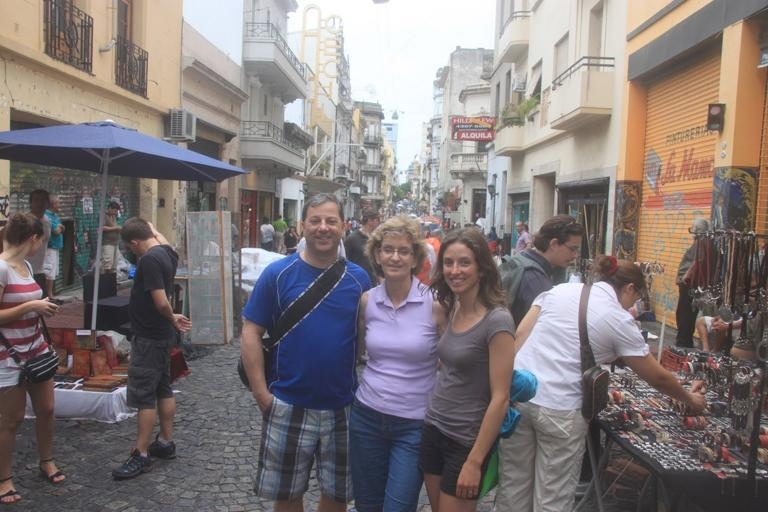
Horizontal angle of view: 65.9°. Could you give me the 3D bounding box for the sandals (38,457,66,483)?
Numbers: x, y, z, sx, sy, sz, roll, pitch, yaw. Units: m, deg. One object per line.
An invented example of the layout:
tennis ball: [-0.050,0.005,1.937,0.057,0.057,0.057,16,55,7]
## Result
sandals: [-3.404,2.181,6.073,0.396,0.167,0.136,5,2,42]

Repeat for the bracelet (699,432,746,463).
bracelet: [2.706,1.550,4.781,0.211,0.092,0.295,0,0,36]

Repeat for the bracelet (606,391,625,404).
bracelet: [2.161,1.310,5.489,0.112,0.060,0.163,0,0,0]

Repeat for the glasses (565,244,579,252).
glasses: [1.927,-0.081,6.037,0.070,0.076,0.022,5,-9,-17]

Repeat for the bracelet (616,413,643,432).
bracelet: [2.149,1.447,5.185,0.134,0.060,0.129,-29,26,-23]

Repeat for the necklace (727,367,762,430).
necklace: [2.878,1.151,4.808,0.105,0.430,0.305,5,2,-2]

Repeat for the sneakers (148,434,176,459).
sneakers: [-2.450,2.124,6.649,0.354,0.233,0.155,11,-1,7]

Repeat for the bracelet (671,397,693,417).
bracelet: [2.630,1.337,5.248,0.052,0.158,0.147,-22,12,-21]

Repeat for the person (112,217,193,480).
person: [-2.563,0.934,6.494,0.726,2.585,1.109,0,11,-19]

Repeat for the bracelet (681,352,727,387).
bracelet: [2.844,0.989,5.241,0.301,0.149,0.310,2,4,1]

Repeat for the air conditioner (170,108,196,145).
air conditioner: [-5.635,-3.551,16.686,0.721,0.867,0.984,-2,-3,27]

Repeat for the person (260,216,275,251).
person: [-4.445,-0.587,22.436,0.578,1.790,0.563,1,22,-12]
